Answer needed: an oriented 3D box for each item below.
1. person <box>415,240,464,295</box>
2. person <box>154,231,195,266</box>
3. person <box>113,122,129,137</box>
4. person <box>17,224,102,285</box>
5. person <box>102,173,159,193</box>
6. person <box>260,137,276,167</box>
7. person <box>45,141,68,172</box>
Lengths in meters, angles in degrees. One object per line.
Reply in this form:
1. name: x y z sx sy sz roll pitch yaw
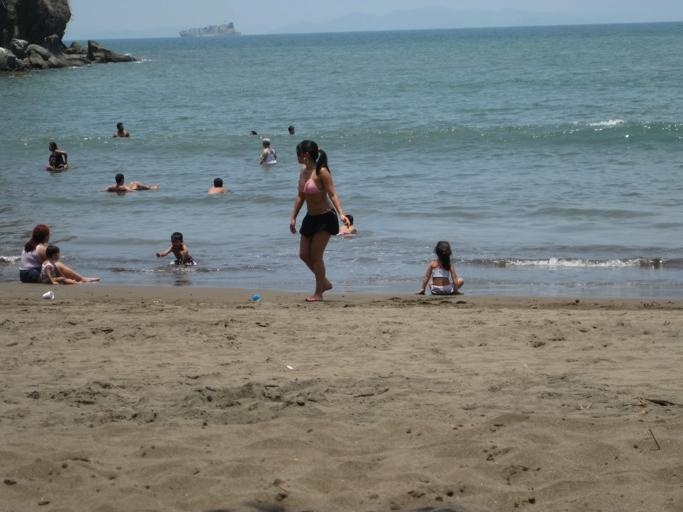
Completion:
1. person: 1.450 0.141 13.104 0.625 0.787 0.478 1 16 6
2. person: -2.821 0.043 15.123 0.649 0.765 0.672 -7 -5 -9
3. person: -7.213 -4.127 29.288 0.473 0.502 1.349 -4 13 -13
4. person: -4.495 0.025 14.168 1.404 0.764 0.770 -1 6 -16
5. person: -4.833 -1.650 20.810 0.973 0.331 0.616 -7 12 -27
6. person: -2.047 -2.949 25.067 0.474 0.702 1.202 -2 14 -5
7. person: -7.461 -2.630 23.486 0.508 0.682 1.449 -5 14 -17
